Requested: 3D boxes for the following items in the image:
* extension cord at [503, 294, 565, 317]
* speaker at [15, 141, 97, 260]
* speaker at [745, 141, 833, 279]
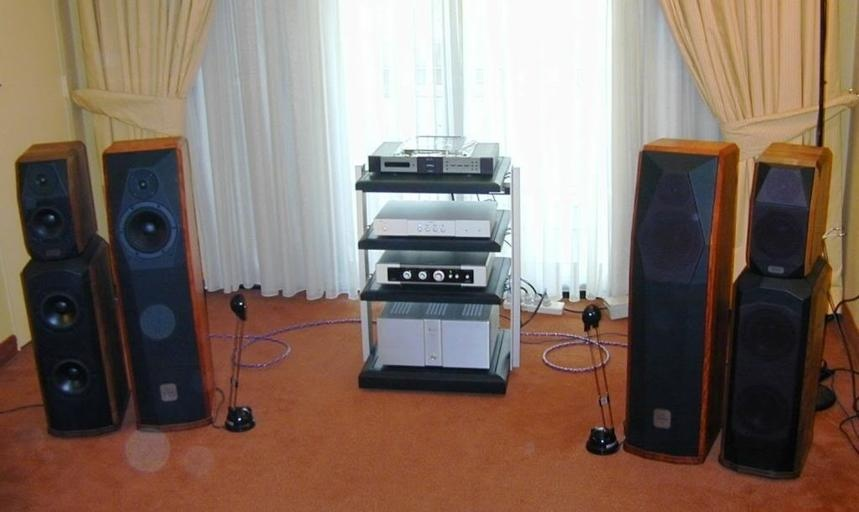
[{"bbox_3d":[0.778,0.345,4.704,0.282,0.056,0.153,4,14,15],"label":"extension cord"},{"bbox_3d":[-1.960,-0.297,3.556,0.328,0.610,0.265,-4,8,-22],"label":"speaker"},{"bbox_3d":[1.701,-0.212,3.244,0.313,0.613,0.239,2,8,25],"label":"speaker"}]
